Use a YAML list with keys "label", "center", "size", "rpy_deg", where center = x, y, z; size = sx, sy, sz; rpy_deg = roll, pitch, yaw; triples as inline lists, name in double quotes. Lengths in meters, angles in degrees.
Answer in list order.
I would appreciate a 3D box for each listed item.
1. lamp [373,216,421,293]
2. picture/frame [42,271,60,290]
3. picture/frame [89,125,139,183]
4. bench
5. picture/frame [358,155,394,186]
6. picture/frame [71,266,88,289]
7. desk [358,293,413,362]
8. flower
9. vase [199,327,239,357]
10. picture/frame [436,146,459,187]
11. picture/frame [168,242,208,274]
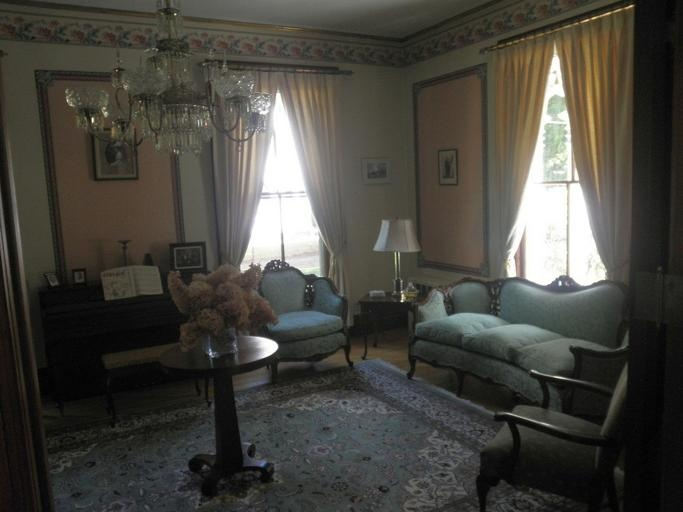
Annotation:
- label: "lamp"
  center: [0.628, 0.006, 5.869]
  size: [0.466, 0.924, 1.024]
  rpy_deg: [-1, 10, 5]
- label: "picture/frame"
  center: [-2.683, 0.207, 4.802]
  size: [0.018, 0.179, 0.138]
  rpy_deg: [-27, -4, 27]
- label: "picture/frame"
  center: [-2.134, -0.952, 4.838]
  size: [0.471, 0.562, 0.039]
  rpy_deg: [-9, 7, -32]
- label: "bench"
  center: [-1.541, 1.039, 4.268]
  size: [0.635, 0.329, 0.368]
  rpy_deg: [-7, 18, -35]
- label: "picture/frame"
  center: [0.405, -1.070, 6.451]
  size: [0.371, 0.331, 0.029]
  rpy_deg: [-3, 3, -31]
- label: "picture/frame"
  center: [-2.439, 0.187, 4.838]
  size: [0.188, 0.249, 0.035]
  rpy_deg: [0, 0, -34]
- label: "desk"
  center: [0.505, 0.709, 5.934]
  size: [0.719, 0.708, 0.590]
  rpy_deg: [0, 0, -23]
- label: "flower"
  center: [-0.785, 0.312, 3.362]
  size: [0.564, 0.528, 0.580]
  rpy_deg: [3, 4, -10]
- label: "vase"
  center: [-0.818, 0.547, 3.478]
  size: [0.194, 0.214, 0.192]
  rpy_deg: [-6, 10, -36]
- label: "picture/frame"
  center: [1.211, -1.033, 5.921]
  size: [0.038, 0.578, 0.448]
  rpy_deg: [-3, 4, -32]
- label: "picture/frame"
  center: [-1.542, 0.005, 5.211]
  size: [0.292, 0.268, 0.033]
  rpy_deg: [-1, 1, -25]
